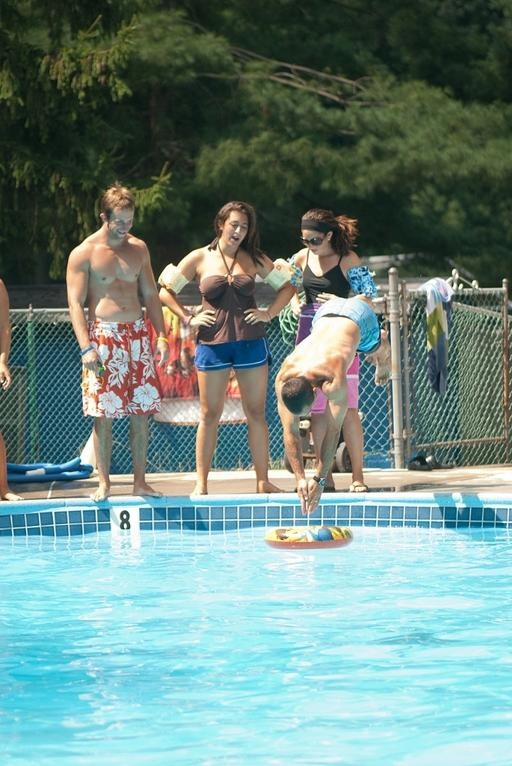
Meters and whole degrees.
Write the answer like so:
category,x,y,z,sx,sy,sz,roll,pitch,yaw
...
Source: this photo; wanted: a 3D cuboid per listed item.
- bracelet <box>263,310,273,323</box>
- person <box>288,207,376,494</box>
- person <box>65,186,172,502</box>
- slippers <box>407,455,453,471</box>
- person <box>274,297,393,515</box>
category,x,y,z,sx,sy,sz,roll,pitch,yaw
bracelet,0.050,-0.347,6.869,0.047,0.056,0.052,7,7,17
person,0.366,-0.174,6.917,0.525,1.515,0.417,-1,6,23
person,-0.687,-0.196,6.726,0.550,1.612,0.339,-4,6,-32
slippers,1.099,0.528,8.489,0.174,0.075,0.140,2,0,5
person,0.397,0.139,6.955,0.361,1.312,0.855,6,-33,21
